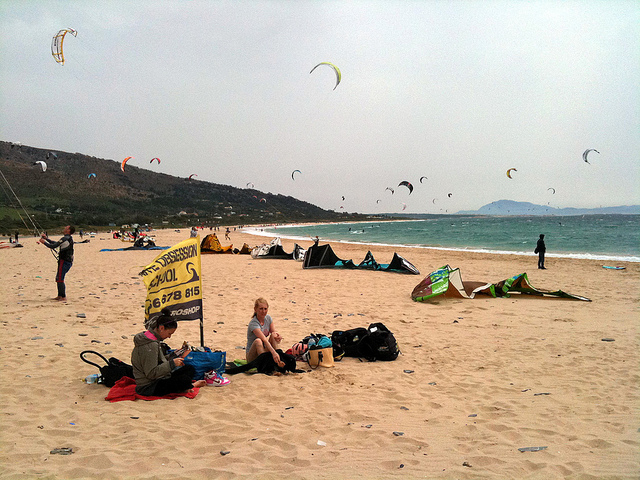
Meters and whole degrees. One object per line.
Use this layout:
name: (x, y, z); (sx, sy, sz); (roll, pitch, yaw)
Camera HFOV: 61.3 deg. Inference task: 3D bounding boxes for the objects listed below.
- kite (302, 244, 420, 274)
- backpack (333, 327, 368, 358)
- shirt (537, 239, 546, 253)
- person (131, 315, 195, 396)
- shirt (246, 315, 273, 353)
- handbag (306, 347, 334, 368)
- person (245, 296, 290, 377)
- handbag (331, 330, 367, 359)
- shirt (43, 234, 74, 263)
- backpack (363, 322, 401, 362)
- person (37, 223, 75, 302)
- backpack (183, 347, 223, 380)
kite: (1.177, 0.672, 18.576); (3.599, 0.750, 0.966); (5, 14, 15)
backpack: (0.557, 1.812, 9.445); (0.540, 0.499, 0.378); (-16, 40, 2)
shirt: (8.212, 0.225, 20.081); (0.230, 0.448, 0.368); (8, 15, 24)
person: (-2.246, 1.681, 7.881); (0.892, 1.121, 0.926); (3, -1, 26)
shirt: (-1.012, 1.474, 8.663); (0.323, 0.582, 0.587); (5, 10, 26)
handbag: (-0.006, 1.904, 8.839); (0.357, 0.285, 0.295); (-9, -2, 11)
person: (-0.850, 1.500, 8.532); (0.715, 1.188, 0.489); (1, 14, -3)
handbag: (0.499, 1.794, 9.340); (0.601, 0.388, 0.505); (1, 14, 0)
shirt: (-5.719, 0.135, 11.823); (0.638, 0.611, 0.496); (1, 12, -42)
backpack: (1.108, 1.797, 9.443); (0.684, 0.642, 0.489); (1, -3, 16)
person: (-5.830, 0.487, 12.065); (0.690, 1.772, 1.182); (-6, 16, -27)
backpack: (-1.777, 1.861, 8.176); (0.501, 0.348, 0.384); (5, -29, -8)
